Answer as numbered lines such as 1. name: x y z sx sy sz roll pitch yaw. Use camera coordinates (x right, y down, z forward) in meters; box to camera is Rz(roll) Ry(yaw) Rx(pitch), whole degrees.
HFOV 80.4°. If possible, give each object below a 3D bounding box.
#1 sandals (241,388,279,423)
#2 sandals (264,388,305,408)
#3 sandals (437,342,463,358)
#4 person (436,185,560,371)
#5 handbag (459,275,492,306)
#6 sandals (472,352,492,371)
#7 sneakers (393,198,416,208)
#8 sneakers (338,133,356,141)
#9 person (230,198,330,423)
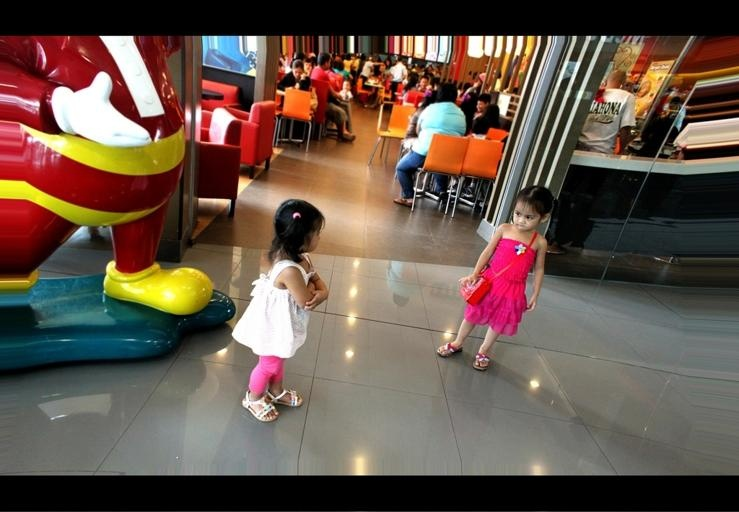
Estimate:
1. sandals: -0.536 0.749 2.175 0.182 0.077 0.109 24 28 18
2. sandals: -0.432 0.726 2.231 0.139 0.049 0.087 -1 27 -9
3. sandals: 0.511 0.604 2.804 0.158 0.065 0.074 -1 45 -12
4. person: 0.817 0.118 2.707 0.474 1.158 0.449 18 22 21
5. handbag: 0.654 0.209 2.650 0.078 0.178 0.184 14 21 -48
6. sandals: 0.705 0.661 2.732 0.071 0.050 0.128 1 13 5
7. sneakers: 0.457 -0.683 5.607 0.293 0.107 0.102 10 30 -2
8. sneakers: -0.439 -2.349 8.667 0.350 0.121 0.145 2 -21 -1
9. person: -0.419 0.265 2.058 0.412 1.085 0.287 -2 23 -28
